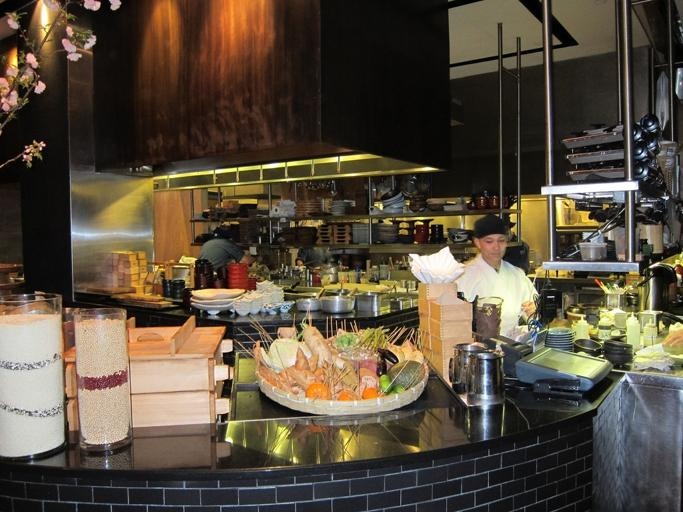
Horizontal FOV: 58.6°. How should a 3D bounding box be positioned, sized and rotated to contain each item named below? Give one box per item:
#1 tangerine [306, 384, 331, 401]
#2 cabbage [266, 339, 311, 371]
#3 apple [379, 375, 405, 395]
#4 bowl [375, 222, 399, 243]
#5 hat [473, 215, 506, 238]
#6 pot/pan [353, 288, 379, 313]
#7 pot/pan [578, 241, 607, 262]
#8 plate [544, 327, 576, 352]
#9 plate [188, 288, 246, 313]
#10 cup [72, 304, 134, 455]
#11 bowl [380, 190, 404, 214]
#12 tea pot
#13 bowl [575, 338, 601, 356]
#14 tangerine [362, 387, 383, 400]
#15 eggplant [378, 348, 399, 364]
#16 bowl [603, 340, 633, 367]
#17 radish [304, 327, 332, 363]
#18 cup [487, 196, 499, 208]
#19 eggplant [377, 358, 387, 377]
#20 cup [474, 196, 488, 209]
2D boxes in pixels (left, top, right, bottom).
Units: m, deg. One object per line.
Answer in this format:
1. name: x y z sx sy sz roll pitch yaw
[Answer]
1. tangerine: -0.094 0.587 2.674 0.078 0.074 0.102 7 -9 -1
2. cabbage: -0.272 0.468 2.998 0.152 0.071 0.168 0 14 -1
3. apple: 0.230 0.583 2.748 0.060 0.037 0.095 -37 31 -24
4. bowl: 0.514 -0.259 6.716 0.231 0.169 0.232 -1 -4 0
5. hat: 1.076 -0.226 4.346 0.186 0.134 0.193 -4 -8 35
6. pot/pan: 0.217 0.364 4.925 0.172 0.099 0.170 2 4 20
7. pot/pan: 1.247 -0.026 3.016 0.118 0.068 0.113 -1 1 4
8. plate: 1.248 0.468 3.461 0.167 0.064 0.160 0 1 2
9. plate: -0.988 0.361 4.903 0.421 0.182 0.266 -2 7 -3
10. cup: -0.954 0.477 2.443 0.214 0.566 0.184 -5 8 -22
11. bowl: 0.557 -0.578 6.524 0.253 0.199 0.240 -1 -1 0
12. tea pot: 0.616 0.536 2.804 0.261 0.249 0.204 1 8 18
13. bowl: 1.432 0.522 3.515 0.116 0.042 0.114 1 10 0
14. tangerine: 0.128 0.599 2.682 0.055 0.028 0.055 4 5 29
15. eggplant: 0.229 0.479 2.935 0.095 0.050 0.032 26 16 37
16. bowl: 1.572 0.548 3.509 0.175 0.137 0.170 -2 -3 0
17. radish: -0.110 0.427 2.993 0.073 0.077 0.244 -22 39 -8
18. cup: 1.582 -0.563 6.240 0.080 0.122 0.169 5 10 43
19. eggplant: 0.195 0.526 2.894 0.041 0.072 0.024 3 -23 -3
20. cup: 1.439 -0.548 6.220 0.127 0.123 0.125 0 1 0
